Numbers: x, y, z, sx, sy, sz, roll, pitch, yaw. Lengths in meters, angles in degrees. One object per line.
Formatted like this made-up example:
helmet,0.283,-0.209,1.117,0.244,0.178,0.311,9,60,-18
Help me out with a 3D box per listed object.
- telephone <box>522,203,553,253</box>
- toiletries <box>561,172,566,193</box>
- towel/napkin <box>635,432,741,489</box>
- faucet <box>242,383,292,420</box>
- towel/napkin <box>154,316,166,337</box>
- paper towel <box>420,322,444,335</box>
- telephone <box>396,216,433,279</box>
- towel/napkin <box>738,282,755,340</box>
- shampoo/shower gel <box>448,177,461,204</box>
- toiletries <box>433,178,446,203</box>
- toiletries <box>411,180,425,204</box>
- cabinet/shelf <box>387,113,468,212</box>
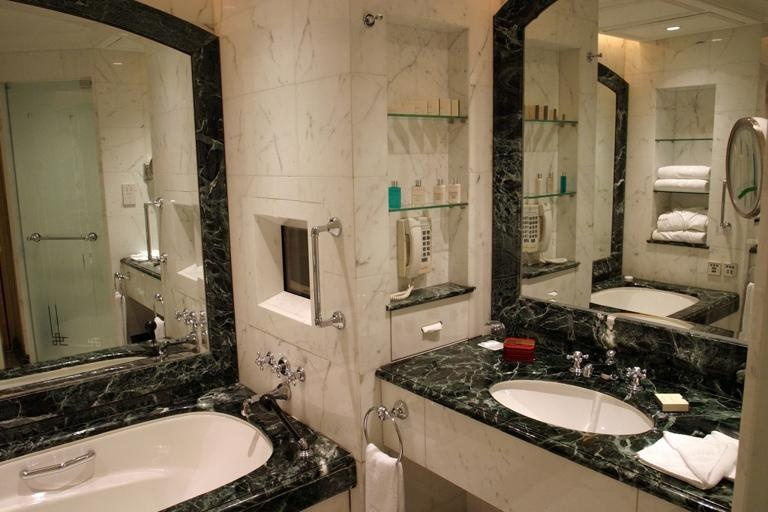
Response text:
telephone,0.867,-0.156,3.246,0.143,0.254,0.128,1,6,30
toiletries,0.966,-0.389,3.095,0.037,0.107,0.024,2,11,29
towel/napkin,1.217,0.795,2.310,0.327,0.109,0.319,3,11,34
faucet,-0.639,0.827,3.316,0.170,0.152,0.296,6,11,39
towel/napkin,-1.340,0.425,3.472,0.071,0.114,0.111,-4,29,-26
paper towel,0.275,0.403,3.181,0.151,0.063,0.033,-10,12,-40
telephone,0.169,-0.047,3.184,0.194,0.326,0.104,-3,9,1
towel/napkin,1.594,0.256,2.535,0.038,0.262,0.152,3,11,30
shampoo/shower gel,0.399,-0.364,3.231,0.069,0.137,0.078,-1,10,13
toiletries,0.316,-0.363,3.242,0.069,0.139,0.193,-1,9,8
toiletries,0.189,-0.351,3.182,0.078,0.139,0.150,-2,9,3
cabinet/shelf,0.268,-0.516,3.143,0.186,0.516,0.590,3,9,40
